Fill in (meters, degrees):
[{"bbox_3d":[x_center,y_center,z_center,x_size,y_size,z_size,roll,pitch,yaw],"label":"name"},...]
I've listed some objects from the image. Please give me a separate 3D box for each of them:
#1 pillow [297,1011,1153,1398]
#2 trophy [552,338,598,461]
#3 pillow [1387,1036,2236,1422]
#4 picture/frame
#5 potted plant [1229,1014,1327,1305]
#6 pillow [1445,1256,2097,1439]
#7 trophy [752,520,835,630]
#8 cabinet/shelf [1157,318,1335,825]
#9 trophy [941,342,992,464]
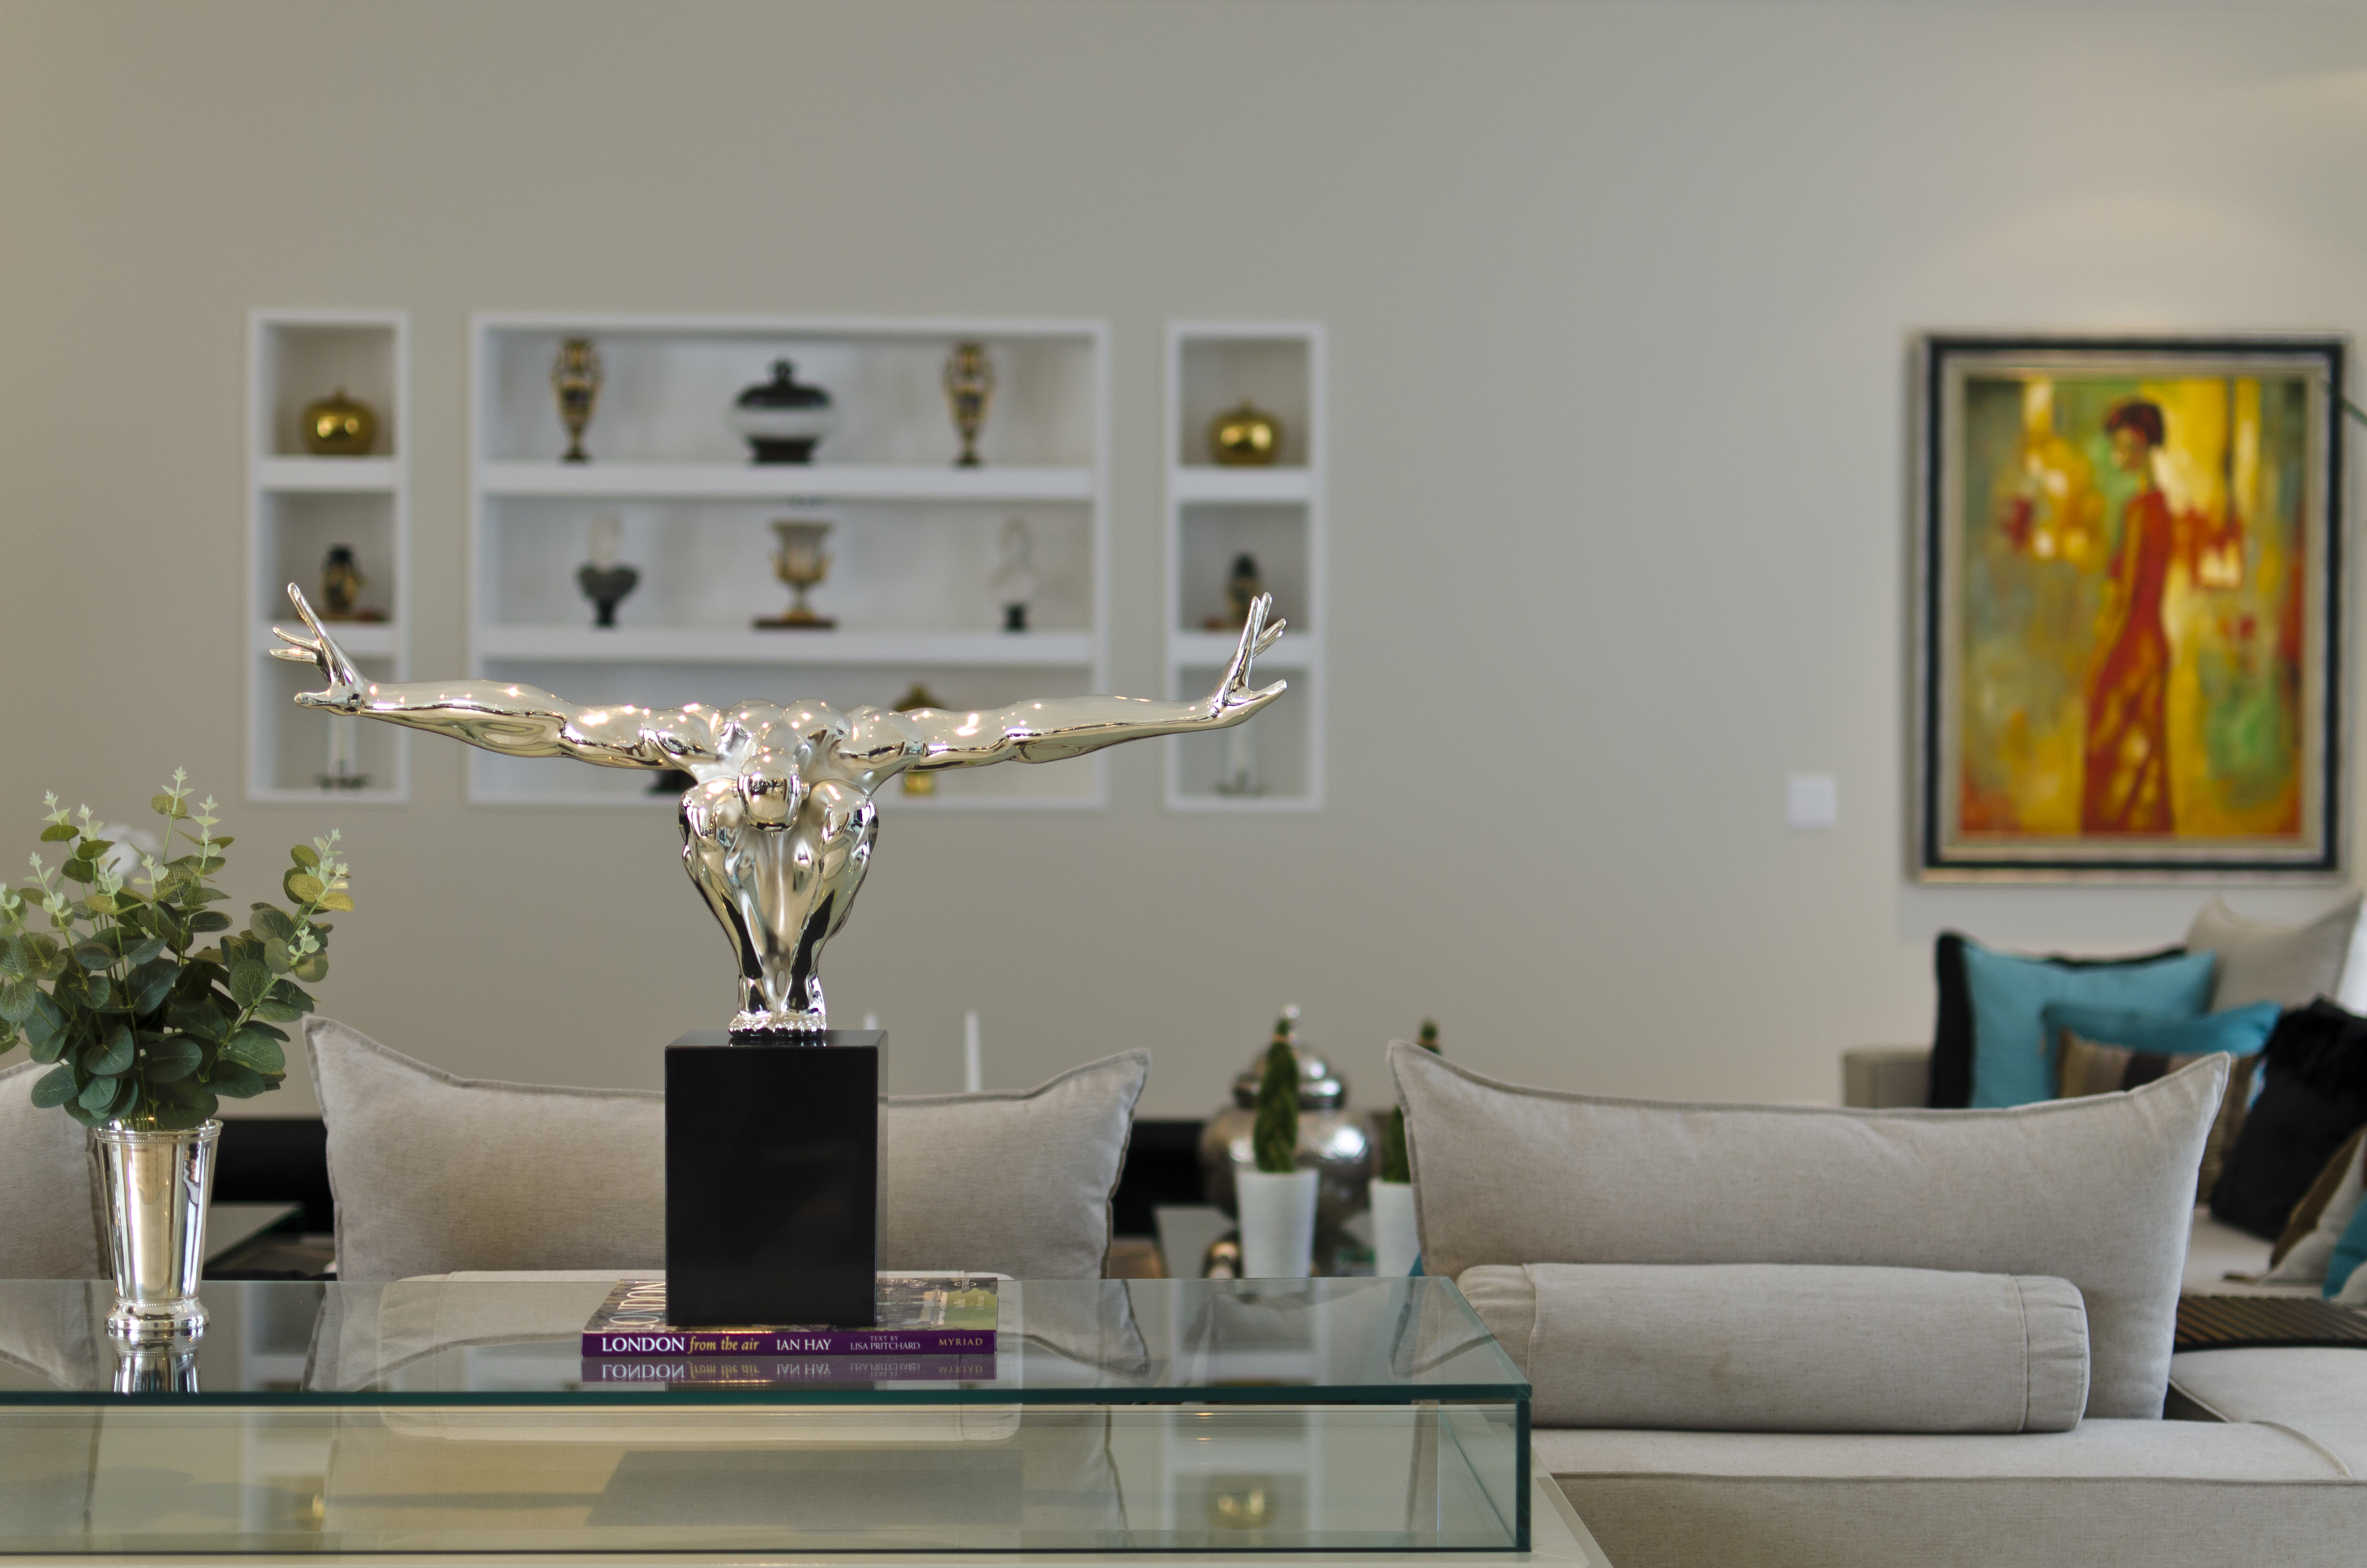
[{"bbox_3d":[-1.050,0.821,9.886,1.447,0.785,1.241,5,2,-2],"label":"pillow"},{"bbox_3d":[-1.751,-1.081,12.792,0.139,0.352,0.208,0,-1,-8],"label":"trophy"},{"bbox_3d":[1.307,0.876,9.401,1.635,0.810,0.856,3,5,-8],"label":"pillow"},{"bbox_3d":[2.686,-0.485,12.720,1.234,1.528,0.112,0,-1,-3],"label":"picture/frame"},{"bbox_3d":[0.209,0.910,10.427,0.261,0.629,0.267,2,0,-14],"label":"potted plant"},{"bbox_3d":[1.258,1.231,9.477,1.288,0.394,0.351,0,6,-4],"label":"pillow"},{"bbox_3d":[-1.127,-0.589,12.898,0.218,0.304,0.242,-4,-4,15],"label":"trophy"},{"bbox_3d":[0.164,-0.610,12.813,0.434,1.400,0.171,1,11,2],"label":"cabinet/shelf"},{"bbox_3d":[-0.627,-1.064,12.815,0.147,0.369,0.173,0,-1,-4],"label":"trophy"}]
